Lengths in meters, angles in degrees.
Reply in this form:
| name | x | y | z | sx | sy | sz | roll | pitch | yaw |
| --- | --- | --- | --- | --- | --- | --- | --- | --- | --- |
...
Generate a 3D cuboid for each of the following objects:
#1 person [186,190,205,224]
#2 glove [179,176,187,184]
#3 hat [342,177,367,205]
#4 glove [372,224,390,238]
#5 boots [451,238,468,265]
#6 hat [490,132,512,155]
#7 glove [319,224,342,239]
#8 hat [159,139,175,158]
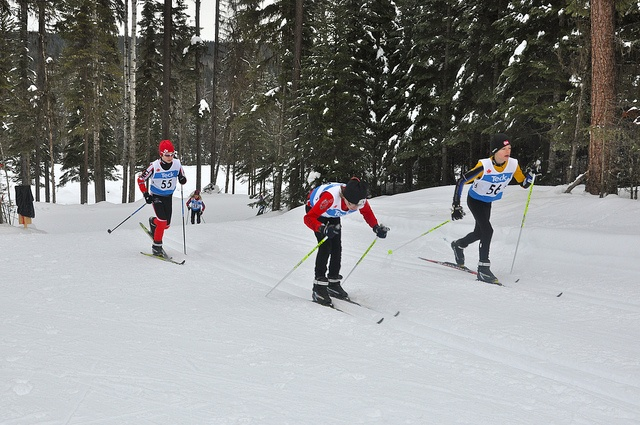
| name | x | y | z | sx | sy | sz | roll | pitch | yaw |
| --- | --- | --- | --- | --- | --- | --- | --- | --- | --- |
| person | -4.919 | -0.177 | 23.075 | 0.569 | 1.308 | 1.342 | 1 | 4 | 0 |
| glove | -3.793 | -0.863 | 16.226 | 0.151 | 0.210 | 0.194 | 1 | 22 | -4 |
| hat | 0.794 | -0.520 | 13.393 | 0.512 | 0.553 | 0.646 | -8 | 39 | -22 |
| glove | 1.402 | 0.426 | 13.692 | 0.303 | 0.132 | 0.319 | 24 | 5 | 13 |
| boots | 3.757 | 1.059 | 15.972 | 0.327 | 0.743 | 0.262 | -16 | 1 | 6 |
| hat | 4.422 | -1.685 | 14.616 | 0.452 | 0.443 | 0.444 | 3 | 28 | 33 |
| glove | 0.210 | 0.436 | 13.497 | 0.284 | 0.346 | 0.459 | 4 | 5 | 38 |
| hat | -4.165 | -1.718 | 16.037 | 0.363 | 0.397 | 0.452 | -2 | 10 | -39 |
